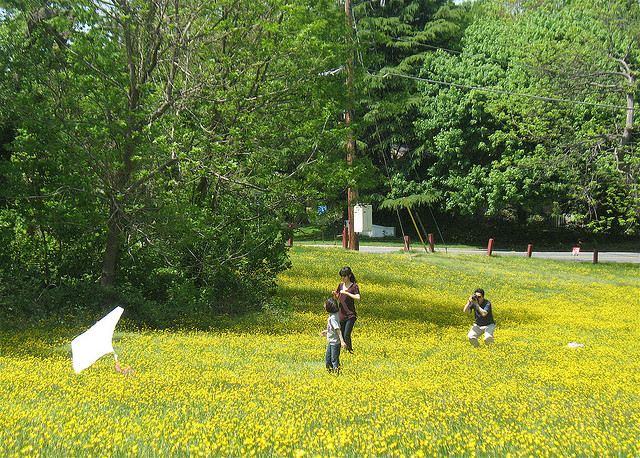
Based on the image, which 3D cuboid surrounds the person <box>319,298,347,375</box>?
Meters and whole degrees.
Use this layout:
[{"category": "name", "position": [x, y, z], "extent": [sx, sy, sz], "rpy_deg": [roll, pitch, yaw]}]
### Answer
[{"category": "person", "position": [0.325, 2.477, 14.238], "extent": [0.556, 1.798, 1.011], "rpy_deg": [1, 6, 2]}]

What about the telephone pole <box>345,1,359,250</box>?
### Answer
[{"category": "telephone pole", "position": [1.651, -4.542, 31.469], "extent": [1.085, 11.007, 0.905], "rpy_deg": [-5, 11, -19]}]

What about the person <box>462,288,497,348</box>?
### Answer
[{"category": "person", "position": [4.595, 2.534, 17.321], "extent": [1.083, 1.670, 0.660], "rpy_deg": [-3, 7, -37]}]
